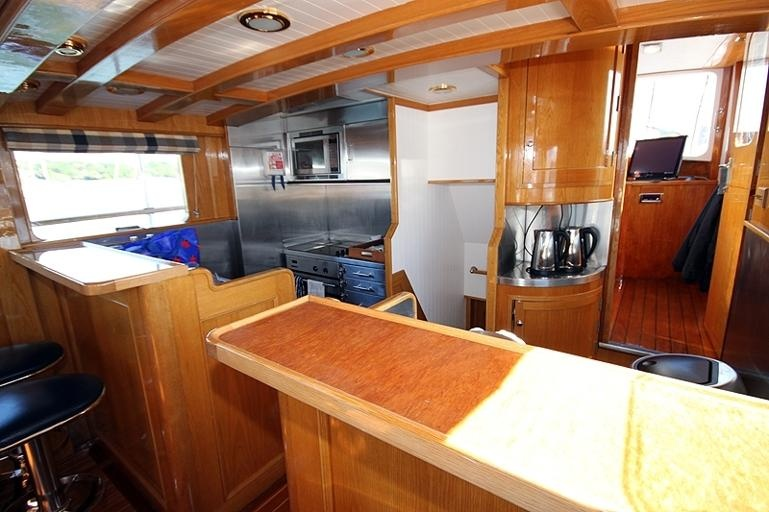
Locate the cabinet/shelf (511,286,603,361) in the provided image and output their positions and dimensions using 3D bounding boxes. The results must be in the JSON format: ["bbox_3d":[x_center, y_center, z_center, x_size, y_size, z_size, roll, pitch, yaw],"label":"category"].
[{"bbox_3d":[1.302,0.487,3.706,0.488,0.856,0.517,10,21,40],"label":"cabinet/shelf"}]

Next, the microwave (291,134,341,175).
[{"bbox_3d":[-0.676,-1.060,4.983,0.499,0.307,0.263,4,9,31],"label":"microwave"}]

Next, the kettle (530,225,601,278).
[{"bbox_3d":[1.496,-0.042,4.062,0.629,0.398,0.369,0,12,9],"label":"kettle"}]

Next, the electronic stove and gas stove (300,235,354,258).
[{"bbox_3d":[-0.609,-0.114,5.298,0.584,0.094,0.894,-3,11,-7],"label":"electronic stove and gas stove"}]

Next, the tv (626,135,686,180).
[{"bbox_3d":[3.228,-1.149,5.705,0.082,0.674,0.785,3,4,-39],"label":"tv"}]

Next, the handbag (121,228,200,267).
[{"bbox_3d":[-1.923,-0.169,4.296,0.530,0.187,0.650,7,9,-4],"label":"handbag"}]

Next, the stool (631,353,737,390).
[{"bbox_3d":[1.813,0.675,2.894,0.558,0.126,0.320,5,13,32],"label":"stool"}]
